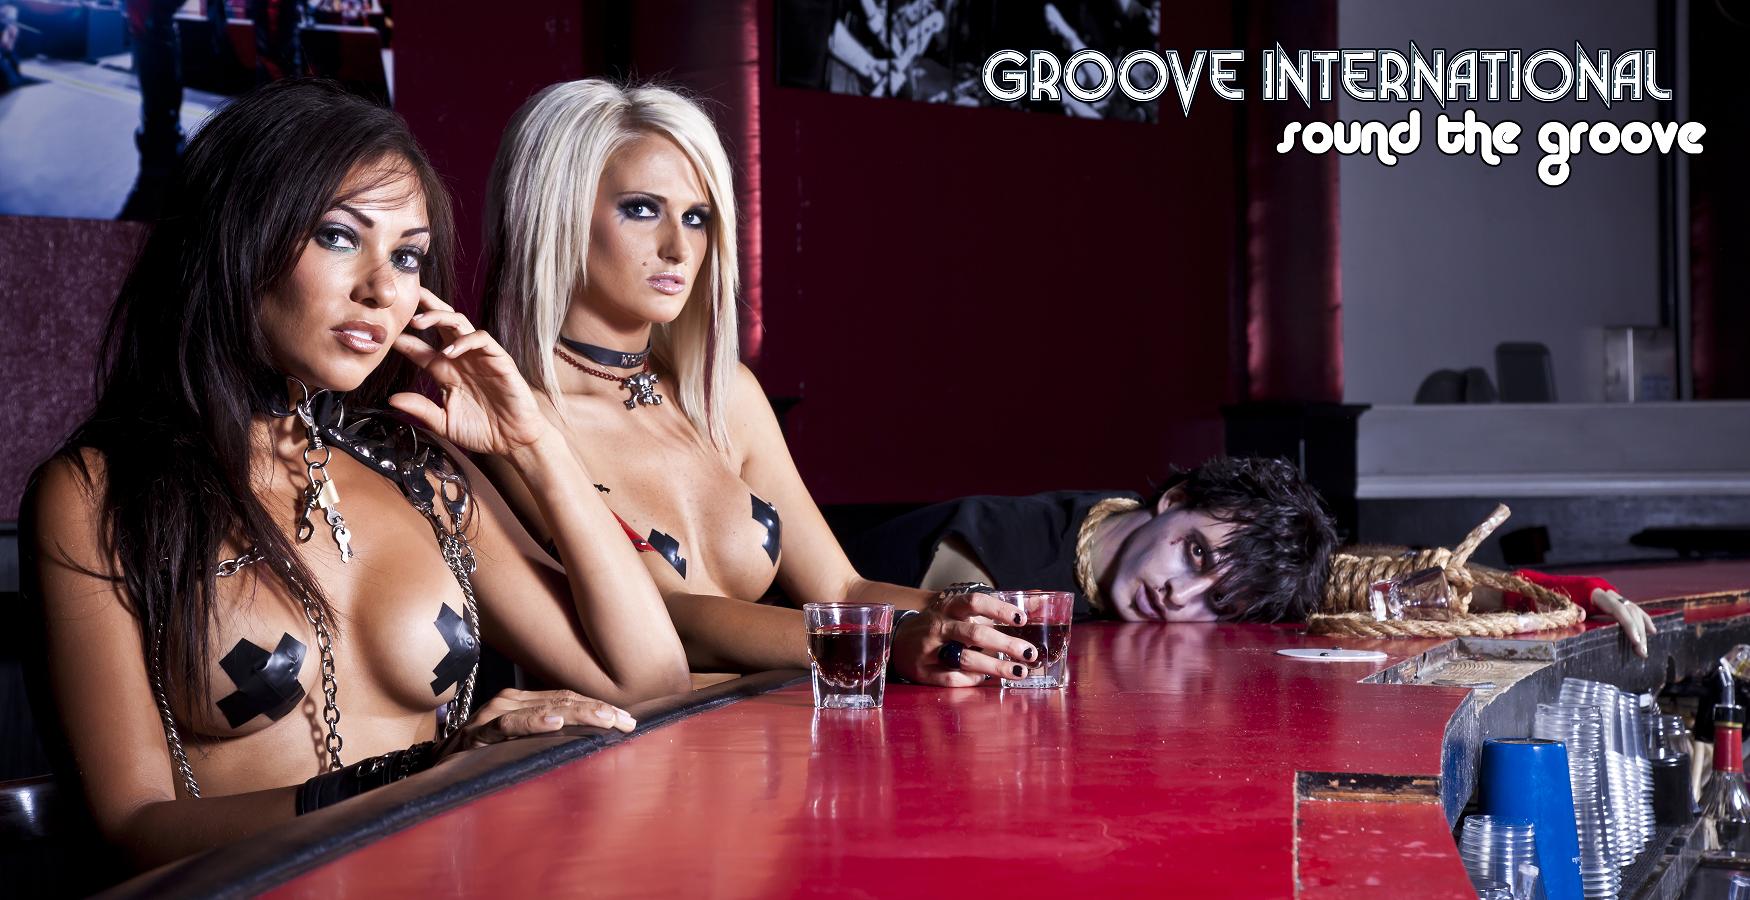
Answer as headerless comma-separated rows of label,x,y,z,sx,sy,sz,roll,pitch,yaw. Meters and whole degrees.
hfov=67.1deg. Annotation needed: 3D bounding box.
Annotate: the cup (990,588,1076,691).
cup,0.360,0.451,3.162,0.239,0.235,0.223,1,-8,0
